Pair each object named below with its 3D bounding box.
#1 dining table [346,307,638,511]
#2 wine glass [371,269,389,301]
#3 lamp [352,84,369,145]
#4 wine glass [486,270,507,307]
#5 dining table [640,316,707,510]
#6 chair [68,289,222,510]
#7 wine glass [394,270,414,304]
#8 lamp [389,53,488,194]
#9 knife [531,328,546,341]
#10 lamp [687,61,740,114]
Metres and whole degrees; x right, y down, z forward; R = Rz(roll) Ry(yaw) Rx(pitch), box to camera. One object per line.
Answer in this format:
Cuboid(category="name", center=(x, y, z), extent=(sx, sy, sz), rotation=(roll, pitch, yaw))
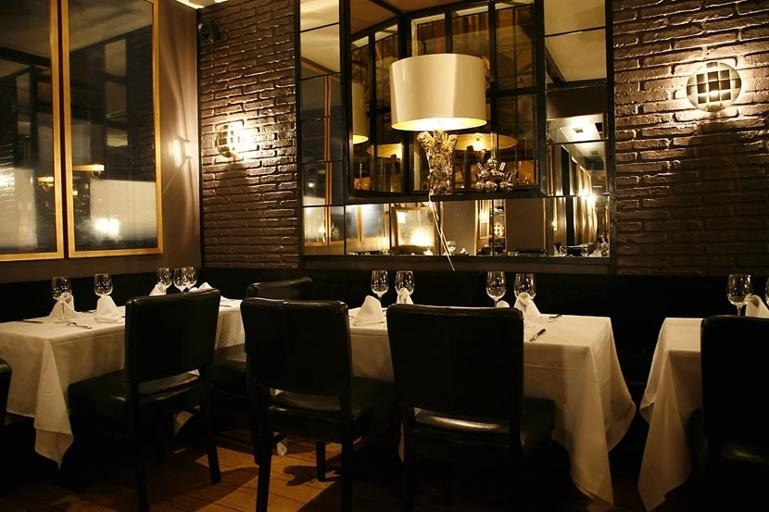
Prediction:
Cuboid(category="dining table", center=(1.050, 0.778, 4.041), extent=(1.482, 0.720, 1.181), rotation=(0, 1, 24))
Cuboid(category="wine glass", center=(-0.030, 0.203, 4.371), extent=(0.108, 0.205, 0.223), rotation=(-2, 4, 3))
Cuboid(category="lamp", center=(-0.201, -1.176, 5.220), extent=(0.055, 0.498, 0.215), rotation=(0, 4, 27))
Cuboid(category="wine glass", center=(0.750, 0.219, 4.203), extent=(0.123, 0.261, 0.639), rotation=(-2, 4, 9))
Cuboid(category="dining table", center=(1.704, 1.019, 3.747), extent=(0.329, 1.120, 0.579), rotation=(0, 4, 26))
Cuboid(category="chair", center=(-1.596, 0.893, 4.196), extent=(0.762, 1.296, 0.689), rotation=(0, 4, 33))
Cuboid(category="wine glass", center=(0.133, 0.232, 4.278), extent=(0.141, 0.233, 0.146), rotation=(3, -7, -21))
Cuboid(category="lamp", center=(0.428, -1.036, 4.571), extent=(0.609, 0.800, 0.603), rotation=(0, 4, 26))
Cuboid(category="knife", center=(0.922, 0.473, 3.763), extent=(0.042, 0.037, 0.263), rotation=(11, 4, 25))
Cuboid(category="lamp", center=(2.419, -1.225, 4.587), extent=(0.379, 0.374, 0.371), rotation=(-1, -1, -36))
